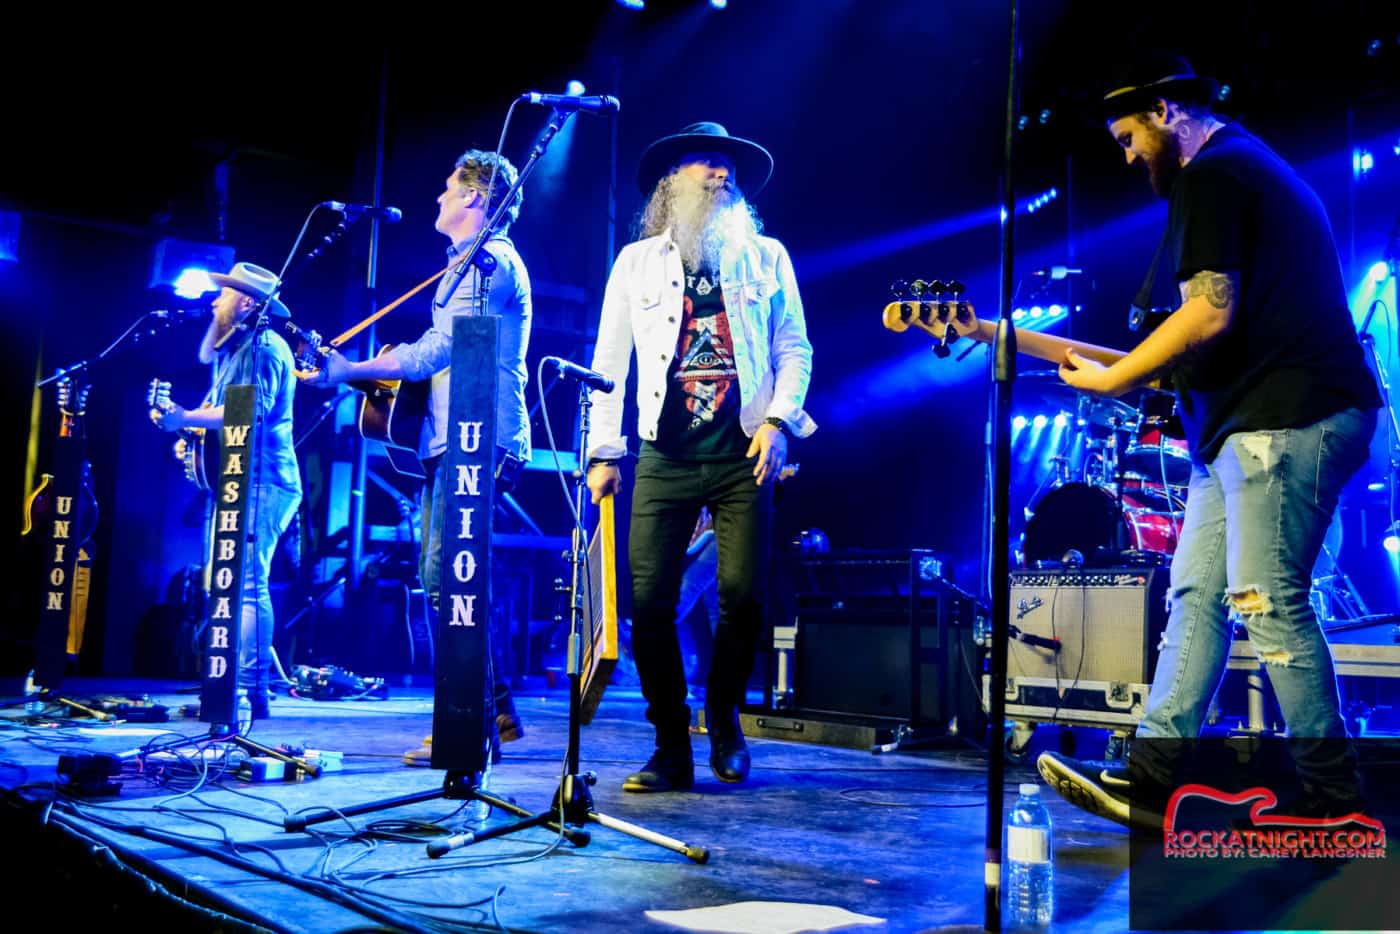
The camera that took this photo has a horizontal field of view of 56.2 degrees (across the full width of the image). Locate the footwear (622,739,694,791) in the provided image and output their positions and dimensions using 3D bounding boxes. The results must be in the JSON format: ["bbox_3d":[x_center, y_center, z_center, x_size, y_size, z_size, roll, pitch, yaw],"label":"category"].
[{"bbox_3d":[-0.165,1.385,5.985,0.145,0.151,0.369,-12,-18,41],"label":"footwear"}]

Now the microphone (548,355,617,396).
[{"bbox_3d":[-0.529,-0.392,5.542,0.270,0.151,0.395,0,8,-6],"label":"microphone"}]

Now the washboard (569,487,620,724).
[{"bbox_3d":[-0.431,0.604,5.532,0.136,0.899,0.300,0,8,-6],"label":"washboard"}]

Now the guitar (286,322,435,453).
[{"bbox_3d":[-1.780,-0.377,7.103,0.763,0.775,0.791,-1,2,-22],"label":"guitar"}]

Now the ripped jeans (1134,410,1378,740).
[{"bbox_3d":[2.234,0.433,5.308,0.752,1.342,0.472,4,9,26],"label":"ripped jeans"}]
